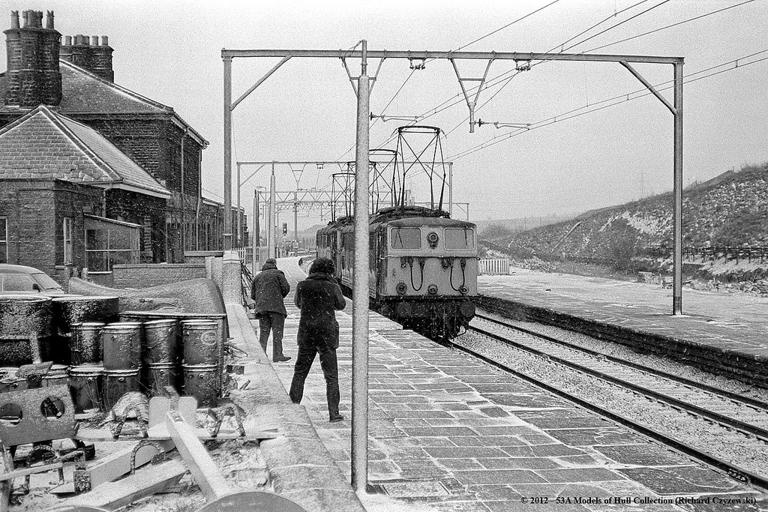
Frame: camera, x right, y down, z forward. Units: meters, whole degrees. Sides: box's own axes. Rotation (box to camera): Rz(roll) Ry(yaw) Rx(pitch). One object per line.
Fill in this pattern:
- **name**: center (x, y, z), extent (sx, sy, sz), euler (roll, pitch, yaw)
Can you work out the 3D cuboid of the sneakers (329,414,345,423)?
- **sneakers**: center (-0.753, 2.578, 12.819), extent (0.248, 0.113, 0.192), euler (-3, 1, -12)
